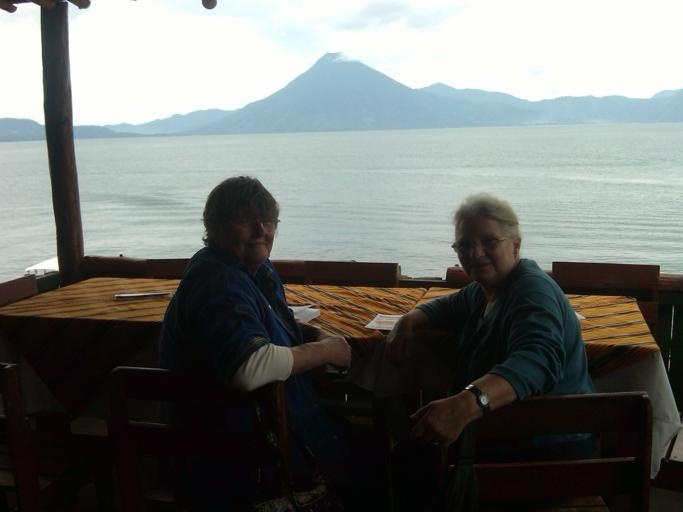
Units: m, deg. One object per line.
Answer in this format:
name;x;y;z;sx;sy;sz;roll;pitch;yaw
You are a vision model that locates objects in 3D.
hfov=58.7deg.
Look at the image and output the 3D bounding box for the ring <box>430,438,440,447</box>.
ring;0.303;0.608;1.971;0.033;0.008;0.034;-1;6;0
